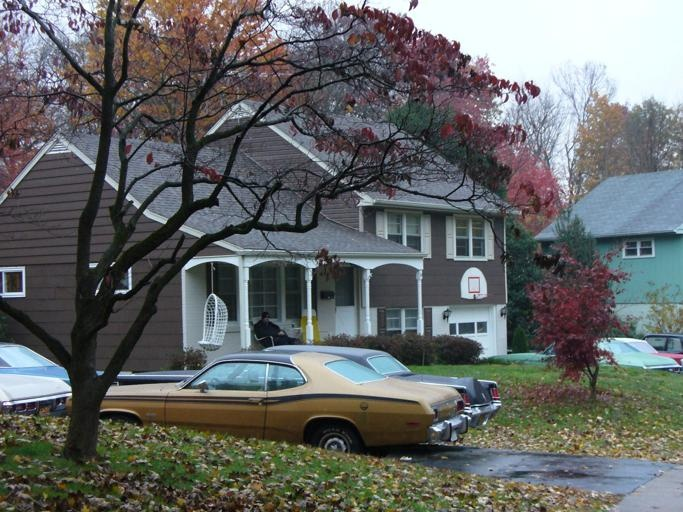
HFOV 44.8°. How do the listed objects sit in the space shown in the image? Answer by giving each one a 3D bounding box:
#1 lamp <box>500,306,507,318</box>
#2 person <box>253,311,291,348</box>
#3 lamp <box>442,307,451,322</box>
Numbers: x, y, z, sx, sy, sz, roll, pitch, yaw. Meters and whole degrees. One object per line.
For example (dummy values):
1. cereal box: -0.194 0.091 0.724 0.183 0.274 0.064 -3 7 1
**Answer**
1. lamp: 6.453 2.229 32.955 0.174 0.351 0.361 8 4 39
2. person: -1.919 2.174 23.503 0.888 1.299 0.591 -8 1 23
3. lamp: 3.884 2.158 30.309 0.204 0.322 0.705 7 3 24
